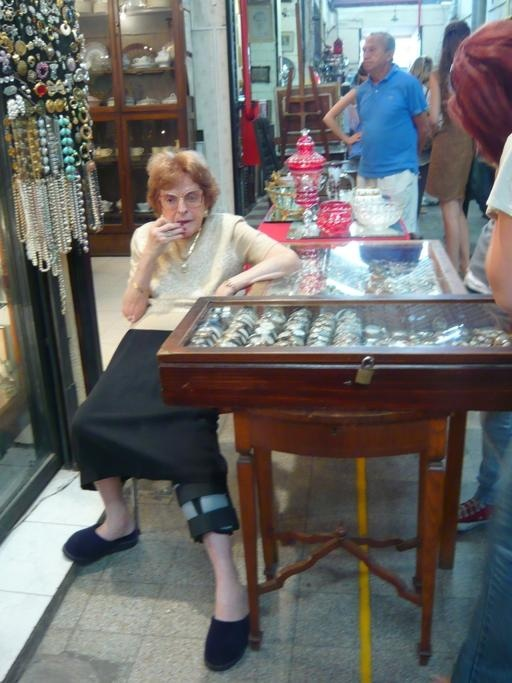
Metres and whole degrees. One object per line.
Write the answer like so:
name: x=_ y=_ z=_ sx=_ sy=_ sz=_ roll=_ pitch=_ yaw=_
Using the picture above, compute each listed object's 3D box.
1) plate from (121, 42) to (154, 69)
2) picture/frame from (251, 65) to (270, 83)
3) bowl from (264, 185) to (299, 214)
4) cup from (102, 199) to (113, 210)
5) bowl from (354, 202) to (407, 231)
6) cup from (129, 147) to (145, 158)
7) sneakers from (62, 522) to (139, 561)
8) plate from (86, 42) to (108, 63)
plate: x=-1.232 y=-2.994 z=5.605 sx=0.356 sy=0.256 sz=0.168 roll=-7 pitch=24 yaw=-2
picture/frame: x=0.079 y=-4.270 z=8.549 sx=0.256 sy=0.242 sz=0.065 roll=0 pitch=12 yaw=5
bowl: x=0.153 y=-0.744 z=2.893 sx=0.181 sy=0.122 sz=0.175 roll=-4 pitch=32 yaw=2
cup: x=-1.676 y=-1.544 z=6.044 sx=0.108 sy=0.079 sz=0.112 roll=0 pitch=11 yaw=0
bowl: x=0.541 y=-0.550 z=2.417 sx=0.162 sy=0.096 sz=0.157 roll=-10 pitch=26 yaw=5
cup: x=-1.329 y=-2.102 z=5.921 sx=0.109 sy=0.060 sz=0.104 roll=-2 pitch=28 yaw=1
sneakers: x=-0.530 y=0.667 z=1.810 sx=0.194 sy=0.067 sz=0.104 roll=-6 pitch=16 yaw=-36
plate: x=-1.683 y=-3.062 z=5.652 sx=0.246 sy=0.197 sz=0.067 roll=-1 pitch=25 yaw=11
